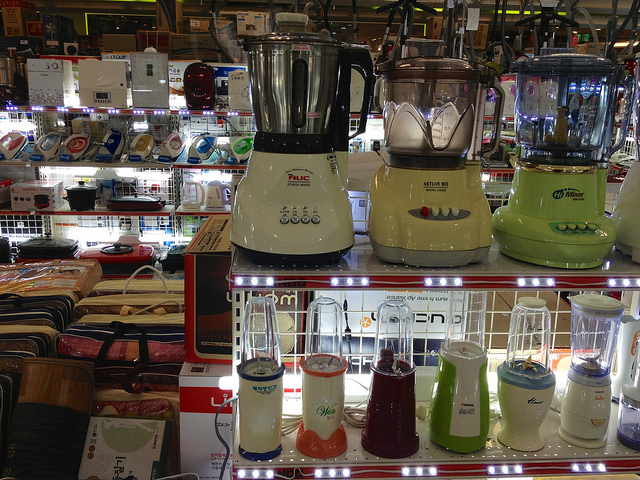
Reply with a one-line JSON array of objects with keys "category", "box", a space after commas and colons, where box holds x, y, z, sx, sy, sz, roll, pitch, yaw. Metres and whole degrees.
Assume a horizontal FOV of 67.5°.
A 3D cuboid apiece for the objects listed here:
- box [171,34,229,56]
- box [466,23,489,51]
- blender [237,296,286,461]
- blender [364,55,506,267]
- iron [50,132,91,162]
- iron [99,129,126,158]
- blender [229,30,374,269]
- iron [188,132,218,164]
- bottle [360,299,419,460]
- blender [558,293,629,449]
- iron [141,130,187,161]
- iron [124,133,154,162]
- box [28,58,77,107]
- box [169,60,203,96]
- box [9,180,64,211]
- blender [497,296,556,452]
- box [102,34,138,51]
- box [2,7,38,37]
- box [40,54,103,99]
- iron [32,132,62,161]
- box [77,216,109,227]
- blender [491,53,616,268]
[{"category": "box", "box": [-1.129, -1.774, 4.379, 0.454, 0.187, 0.204, -1, 20, -1]}, {"category": "box", "box": [1.621, -2.038, 4.840, 0.135, 0.252, 0.462, 5, 21, 16]}, {"category": "blender", "box": [-0.188, 0.441, 1.534, 0.152, 0.472, 0.216, -2, 19, -5]}, {"category": "blender", "box": [0.351, -0.247, 1.498, 0.396, 0.603, 0.304, 5, 20, 16]}, {"category": "iron", "box": [-2.222, -0.841, 4.428, 0.218, 0.107, 0.315, -20, 21, -14]}, {"category": "iron", "box": [-1.906, -0.877, 4.419, 0.191, 0.217, 0.220, 2, 20, 7]}, {"category": "blender", "box": [-0.052, -0.261, 1.426, 0.402, 0.651, 0.248, 2, 19, 7]}, {"category": "iron", "box": [-1.075, -0.840, 4.436, 0.283, 0.216, 0.207, -9, 22, -21]}, {"category": "bottle", "box": [0.238, 0.455, 1.573, 0.196, 0.438, 0.257, 2, 20, 6]}, {"category": "blender", "box": [0.924, 0.412, 1.633, 0.188, 0.465, 0.317, 12, 23, 32]}, {"category": "iron", "box": [-1.363, -0.902, 4.544, 0.209, 0.202, 0.404, 0, 21, 2]}, {"category": "iron", "box": [-1.645, -0.863, 4.412, 0.190, 0.105, 0.293, 5, 51, 13]}, {"category": "box", "box": [-2.365, -1.381, 4.169, 0.357, 0.374, 0.337, -1, 20, -12]}, {"category": "box", "box": [-1.218, -1.414, 4.210, 0.214, 0.299, 0.226, -8, 21, -21]}, {"category": "box", "box": [-2.600, -0.396, 4.513, 0.322, 0.222, 0.335, 3, 19, -1]}, {"category": "blender", "box": [0.722, 0.410, 1.651, 0.177, 0.467, 0.379, 10, 22, 27]}, {"category": "box", "box": [-2.146, -2.123, 5.170, 0.485, 0.171, 0.247, 10, 23, 25]}, {"category": "box", "box": [-3.409, -2.476, 5.468, 0.318, 0.317, 0.958, -12, 24, -28]}, {"category": "box", "box": [-2.154, -1.481, 4.316, 0.423, 0.461, 0.453, 2, 16, -3]}, {"category": "iron", "box": [-2.471, -0.853, 4.401, 0.224, 0.203, 0.258, 6, 21, 16]}, {"category": "box", "box": [-2.251, -0.180, 4.794, 0.315, 0.111, 0.044, 1, 19, 3]}, {"category": "blender", "box": [0.765, -0.224, 1.526, 0.367, 0.560, 0.290, 7, 21, 21]}]
